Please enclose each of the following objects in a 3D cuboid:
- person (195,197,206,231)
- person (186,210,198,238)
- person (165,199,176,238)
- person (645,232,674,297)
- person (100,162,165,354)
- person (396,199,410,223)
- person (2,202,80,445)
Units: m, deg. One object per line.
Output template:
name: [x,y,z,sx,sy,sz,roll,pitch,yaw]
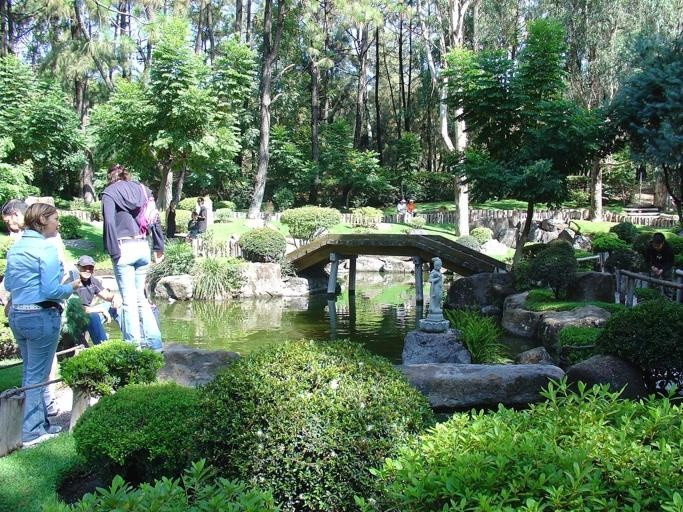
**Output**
person: [-5.608,-1.620,24.827,0.380,1.392,0.900,1,2,-14]
person: [-5.878,-1.238,24.631,0.356,1.015,1.476,1,2,-14]
person: [-6.459,-1.366,23.587,0.309,1.385,1.086,1,2,-17]
person: [6.749,0.004,13.337,0.753,0.995,0.495,0,2,-45]
person: [-2.785,0.019,8.284,0.761,2.453,0.626,1,2,-23]
person: [3.644,-2.584,36.369,0.809,1.323,2.239,2,2,5]
person: [-3.380,0.751,6.943,0.662,2.671,0.623,3,2,37]
